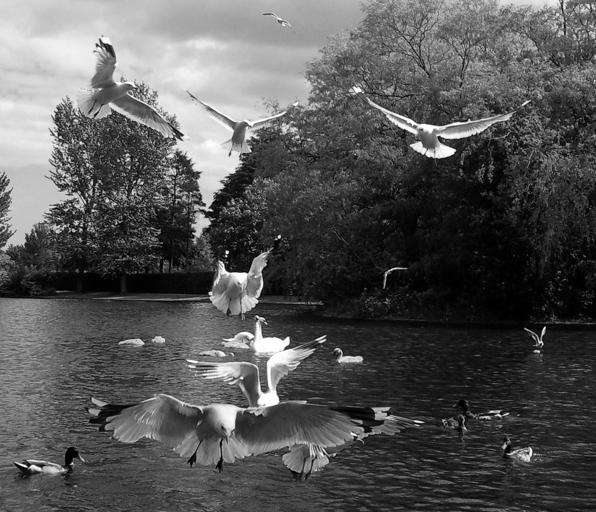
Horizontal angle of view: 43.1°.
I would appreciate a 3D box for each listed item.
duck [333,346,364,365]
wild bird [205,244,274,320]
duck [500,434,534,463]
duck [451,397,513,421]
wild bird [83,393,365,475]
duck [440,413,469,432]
[{"bbox_3d":[1.595,3.153,23.790,1.059,0.669,0.415,6,-5,2],"label":"duck"},{"bbox_3d":[-1.527,0.672,19.454,1.546,1.940,1.150,0,-3,-6],"label":"wild bird"},{"bbox_3d":[4.001,3.511,13.773,0.540,0.407,0.809,3,-1,18],"label":"duck"},{"bbox_3d":[4.017,3.380,16.554,1.424,0.555,0.444,7,-22,-10],"label":"duck"},{"bbox_3d":[-0.873,2.017,8.838,2.708,0.731,1.009,3,4,-6],"label":"wild bird"},{"bbox_3d":[3.217,3.416,15.496,0.681,0.411,0.222,13,-15,-19],"label":"duck"}]
